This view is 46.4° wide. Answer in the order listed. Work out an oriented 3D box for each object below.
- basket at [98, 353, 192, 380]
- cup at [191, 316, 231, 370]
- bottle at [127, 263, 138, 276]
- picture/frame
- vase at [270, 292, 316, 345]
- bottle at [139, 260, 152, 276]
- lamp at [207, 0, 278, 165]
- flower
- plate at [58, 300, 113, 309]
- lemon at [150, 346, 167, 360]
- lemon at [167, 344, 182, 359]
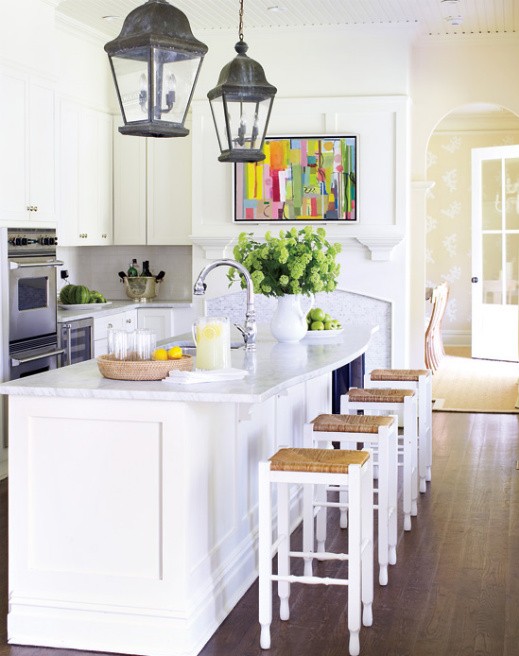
[{"bbox_3d":[-0.353,0.130,1.921,0.306,0.068,0.162,-1,-1,-12],"label":"basket"},{"bbox_3d":[-0.155,0.050,1.979,0.166,0.220,0.145,0,-2,-4],"label":"cup"},{"bbox_3d":[-1.256,-0.585,6.026,0.107,0.148,0.209,-1,-1,-13],"label":"bottle"},{"bbox_3d":[0.365,-1.201,4.907,1.215,0.873,0.061,1,2,2],"label":"picture/frame"},{"bbox_3d":[0.140,-0.042,2.926,0.152,0.232,0.168,-1,-1,20],"label":"vase"},{"bbox_3d":[-1.120,-0.601,6.027,0.108,0.159,0.149,-1,-1,-9],"label":"bottle"},{"bbox_3d":[-0.069,-0.921,2.294,0.246,0.593,0.210,-1,-1,-5],"label":"lamp"},{"bbox_3d":[0.129,-0.307,2.911,0.460,0.331,0.406,1,4,-4],"label":"flower"},{"bbox_3d":[-1.475,-0.193,5.161,0.442,0.071,0.288,0,-1,-25],"label":"plate"},{"bbox_3d":[-0.322,0.083,1.948,0.033,0.035,0.044,-4,19,14],"label":"lemon"},{"bbox_3d":[-0.289,0.085,1.989,0.042,0.042,0.050,14,-13,14],"label":"lemon"}]
